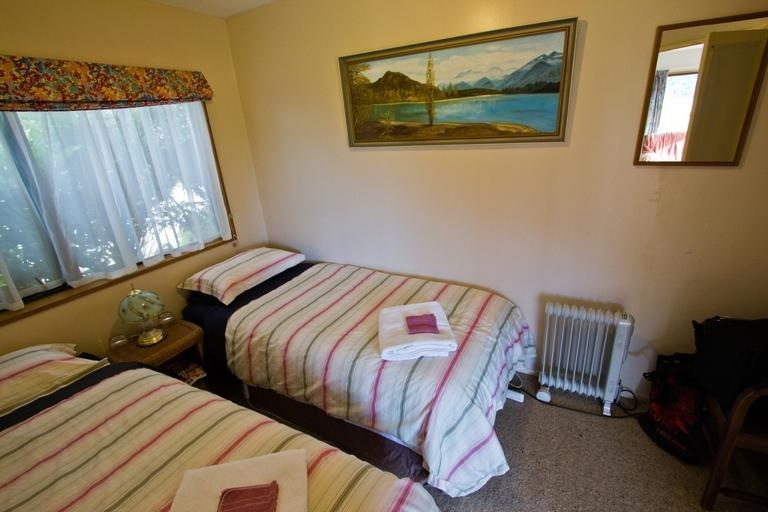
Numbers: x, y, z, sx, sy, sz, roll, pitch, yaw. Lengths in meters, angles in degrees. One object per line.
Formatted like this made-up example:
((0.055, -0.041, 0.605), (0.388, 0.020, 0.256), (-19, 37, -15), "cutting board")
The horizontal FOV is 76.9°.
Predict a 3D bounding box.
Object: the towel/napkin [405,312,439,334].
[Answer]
((0.258, 0.474, 3.384), (0.145, 0.043, 0.140), (-4, 28, -3), "towel/napkin")

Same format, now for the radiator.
((1.493, 0.768, 3.654), (0.614, 0.815, 0.278), (4, 23, 22), "radiator")

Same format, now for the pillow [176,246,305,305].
((-1.237, 0.097, 4.387), (0.634, 0.227, 0.988), (11, 27, 36), "pillow")

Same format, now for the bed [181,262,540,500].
((-0.149, 0.621, 4.057), (2.651, 0.646, 1.835), (17, 32, 34), "bed")

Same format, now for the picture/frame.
((0.511, -1.263, 3.653), (1.708, 0.818, 0.163), (3, 23, 18), "picture/frame")

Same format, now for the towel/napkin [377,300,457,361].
((0.224, 0.507, 3.511), (0.663, 0.158, 0.668), (9, 33, 19), "towel/napkin")
